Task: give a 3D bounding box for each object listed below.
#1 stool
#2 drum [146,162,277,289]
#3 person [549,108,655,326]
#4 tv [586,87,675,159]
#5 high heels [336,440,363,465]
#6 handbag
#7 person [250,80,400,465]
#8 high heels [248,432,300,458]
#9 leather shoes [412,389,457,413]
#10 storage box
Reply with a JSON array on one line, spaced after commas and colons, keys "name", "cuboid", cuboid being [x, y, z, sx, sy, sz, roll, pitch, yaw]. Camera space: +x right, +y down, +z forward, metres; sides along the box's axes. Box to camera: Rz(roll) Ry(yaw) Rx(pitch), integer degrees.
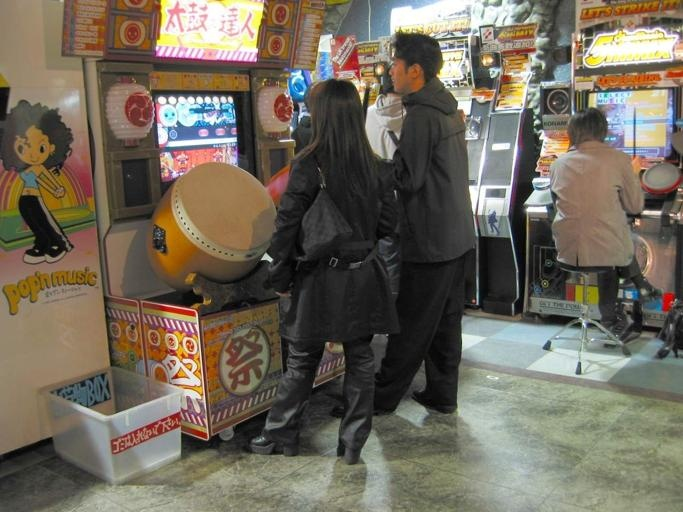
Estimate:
[{"name": "stool", "cuboid": [2.075, 0.496, 4.251, 0.664, 0.946, 0.932, 2, -32, 31]}, {"name": "drum", "cuboid": [-0.932, -0.215, 3.093, 0.629, 0.597, 0.609, 6, 33, 7]}, {"name": "person", "cuboid": [1.998, -0.533, 3.928, 0.659, 1.262, 0.337, 4, 11, 31]}, {"name": "tv", "cuboid": [2.611, -1.194, 4.440, 0.745, 0.651, 0.287, 7, 12, 36]}, {"name": "high heels", "cuboid": [0.044, 1.100, 2.797, 0.116, 0.106, 0.118, 4, 3, -4]}, {"name": "handbag", "cuboid": [-0.088, -0.166, 2.573, 0.375, 0.442, 0.196, -4, 1, 37]}, {"name": "person", "cuboid": [-0.084, 0.111, 2.729, 0.821, 2.084, 0.384, -2, 10, -3]}, {"name": "high heels", "cuboid": [-0.392, 1.093, 2.919, 0.300, 0.138, 0.124, 6, 4, 7]}, {"name": "leather shoes", "cuboid": [0.631, 0.955, 3.392, 0.105, 0.124, 0.297, -10, 18, -32]}, {"name": "storage box", "cuboid": [-1.359, 0.990, 2.971, 0.750, 0.387, 0.539, 3, 7, 32]}]
